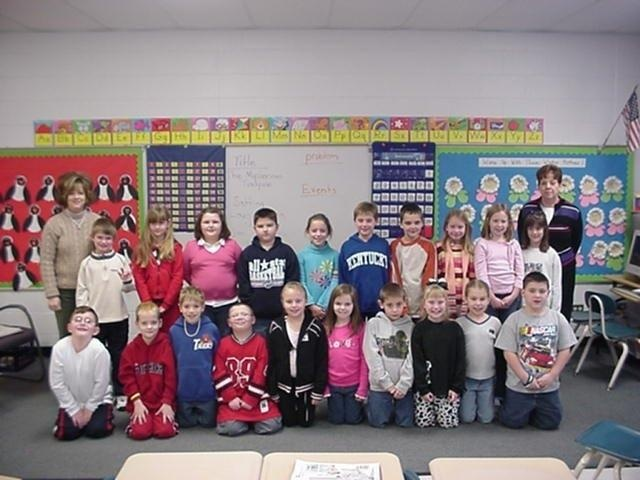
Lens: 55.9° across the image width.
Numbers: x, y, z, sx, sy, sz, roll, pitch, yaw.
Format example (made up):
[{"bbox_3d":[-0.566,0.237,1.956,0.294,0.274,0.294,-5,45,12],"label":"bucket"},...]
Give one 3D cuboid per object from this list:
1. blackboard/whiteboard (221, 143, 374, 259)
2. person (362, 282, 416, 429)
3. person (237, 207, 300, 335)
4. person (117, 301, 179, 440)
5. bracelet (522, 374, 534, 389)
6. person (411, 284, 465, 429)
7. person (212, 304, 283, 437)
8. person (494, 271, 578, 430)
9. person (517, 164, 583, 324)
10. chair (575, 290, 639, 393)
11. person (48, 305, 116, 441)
[{"bbox_3d":[-0.215,-0.419,5.630,1.071,0.782,0.067,1,1,-3],"label":"blackboard/whiteboard"},{"bbox_3d":[0.540,0.999,4.718,0.392,0.839,0.347,-1,10,8],"label":"person"},{"bbox_3d":[-0.428,0.337,5.021,0.479,1.161,0.285,-1,12,-2],"label":"person"},{"bbox_3d":[-1.302,0.975,4.547,0.423,0.962,0.367,-5,10,-16],"label":"person"},{"bbox_3d":[1.576,1.064,4.574,0.032,0.084,0.070,27,9,16],"label":"bracelet"},{"bbox_3d":[0.910,0.891,4.658,0.400,1.066,0.274,0,10,10],"label":"person"},{"bbox_3d":[-0.572,0.986,4.599,0.602,0.946,0.597,1,4,40],"label":"person"},{"bbox_3d":[1.675,0.882,4.696,0.632,1.242,0.506,1,12,15],"label":"person"},{"bbox_3d":[2.139,0.191,5.389,0.551,1.651,0.467,-5,12,34],"label":"person"},{"bbox_3d":[2.678,0.947,5.582,0.499,0.738,0.750,-1,6,-1],"label":"chair"},{"bbox_3d":[-1.793,1.087,4.516,0.427,0.756,0.258,-4,10,-12],"label":"person"}]
